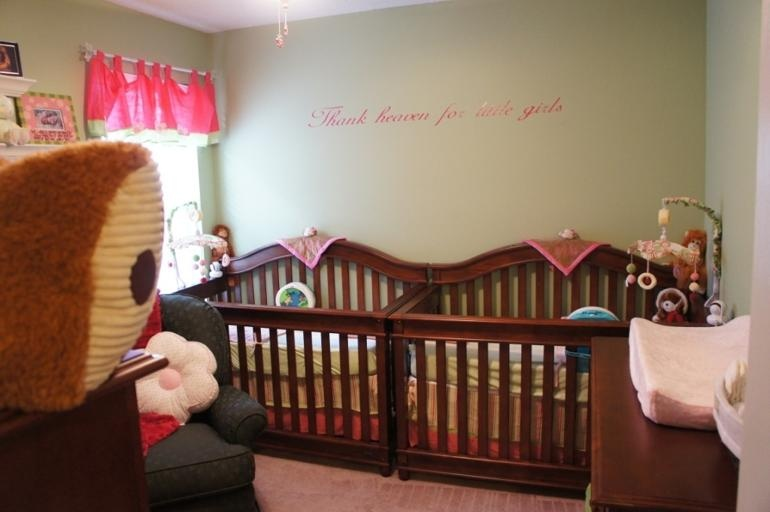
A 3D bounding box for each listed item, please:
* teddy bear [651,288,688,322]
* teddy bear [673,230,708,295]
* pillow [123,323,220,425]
[{"bbox_3d":[1.414,0.271,2.949,0.170,0.210,0.106,1,-17,13],"label":"teddy bear"},{"bbox_3d":[1.430,0.026,2.765,0.168,0.256,0.160,-9,19,-6],"label":"teddy bear"},{"bbox_3d":[-0.942,0.549,2.649,0.390,0.127,0.433,-6,50,-25],"label":"pillow"}]
